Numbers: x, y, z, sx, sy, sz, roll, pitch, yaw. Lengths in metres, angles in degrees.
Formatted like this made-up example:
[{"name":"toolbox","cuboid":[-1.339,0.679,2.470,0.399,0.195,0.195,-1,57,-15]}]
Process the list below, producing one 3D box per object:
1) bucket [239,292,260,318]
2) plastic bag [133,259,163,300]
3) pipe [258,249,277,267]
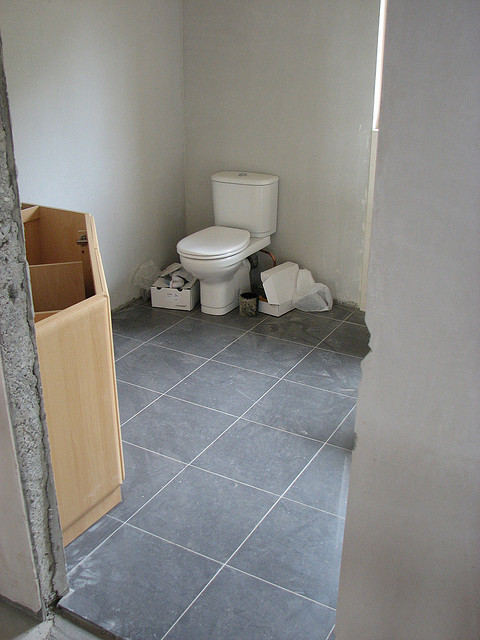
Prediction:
[{"name":"bucket","cuboid":[0.056,-0.092,3.220,0.124,0.150,0.143,15,49,10]},{"name":"plastic bag","cuboid":[-0.643,-0.262,3.385,0.076,0.253,0.183,7,29,-50]},{"name":"pipe","cuboid":[0.201,-0.431,3.432,0.150,0.113,0.076,17,24,39]}]
